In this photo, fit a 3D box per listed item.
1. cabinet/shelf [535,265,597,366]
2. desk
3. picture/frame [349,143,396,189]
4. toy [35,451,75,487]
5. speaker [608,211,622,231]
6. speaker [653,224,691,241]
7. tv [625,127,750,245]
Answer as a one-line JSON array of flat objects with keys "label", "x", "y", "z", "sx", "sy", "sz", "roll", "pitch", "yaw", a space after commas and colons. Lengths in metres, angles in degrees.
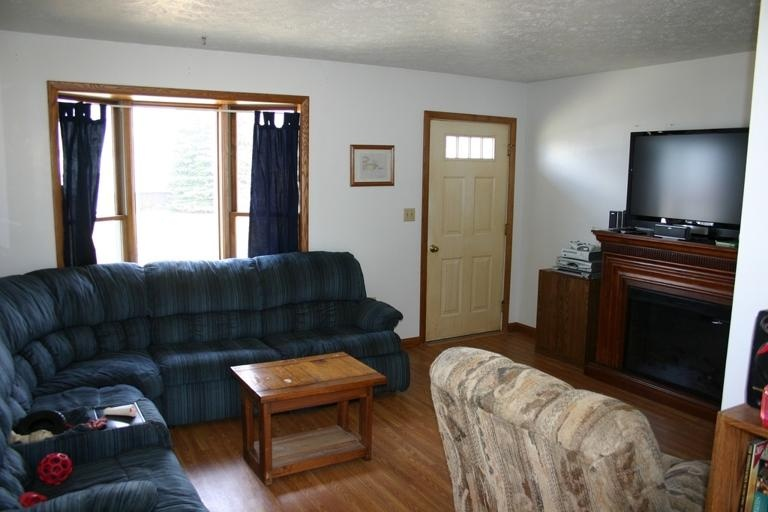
[{"label": "cabinet/shelf", "x": 2.027, "y": 0.597, "z": 5.818, "sx": 0.757, "sy": 0.884, "sz": 0.713, "roll": 7, "pitch": 9, "yaw": 37}, {"label": "desk", "x": -0.621, "y": 0.907, "z": 4.075, "sx": 1.148, "sy": 0.751, "sz": 0.761, "roll": -4, "pitch": 8, "yaw": -33}, {"label": "picture/frame", "x": -0.146, "y": -0.922, "z": 5.641, "sx": 0.503, "sy": 0.419, "sz": 0.036, "roll": -2, "pitch": 8, "yaw": -24}, {"label": "toy", "x": -1.807, "y": 1.155, "z": 3.060, "sx": 0.178, "sy": 0.148, "sz": 0.167, "roll": -6, "pitch": 13, "yaw": -32}, {"label": "speaker", "x": 2.183, "y": -0.331, "z": 5.248, "sx": 0.128, "sy": 0.166, "sz": 0.172, "roll": 6, "pitch": 12, "yaw": 22}, {"label": "speaker", "x": 2.462, "y": -0.207, "z": 4.768, "sx": 0.261, "sy": 0.112, "sz": 0.170, "roll": 4, "pitch": 11, "yaw": 18}, {"label": "tv", "x": 2.739, "y": -0.648, "z": 4.961, "sx": 0.337, "sy": 0.913, "sz": 1.071, "roll": -9, "pitch": 14, "yaw": -29}]
